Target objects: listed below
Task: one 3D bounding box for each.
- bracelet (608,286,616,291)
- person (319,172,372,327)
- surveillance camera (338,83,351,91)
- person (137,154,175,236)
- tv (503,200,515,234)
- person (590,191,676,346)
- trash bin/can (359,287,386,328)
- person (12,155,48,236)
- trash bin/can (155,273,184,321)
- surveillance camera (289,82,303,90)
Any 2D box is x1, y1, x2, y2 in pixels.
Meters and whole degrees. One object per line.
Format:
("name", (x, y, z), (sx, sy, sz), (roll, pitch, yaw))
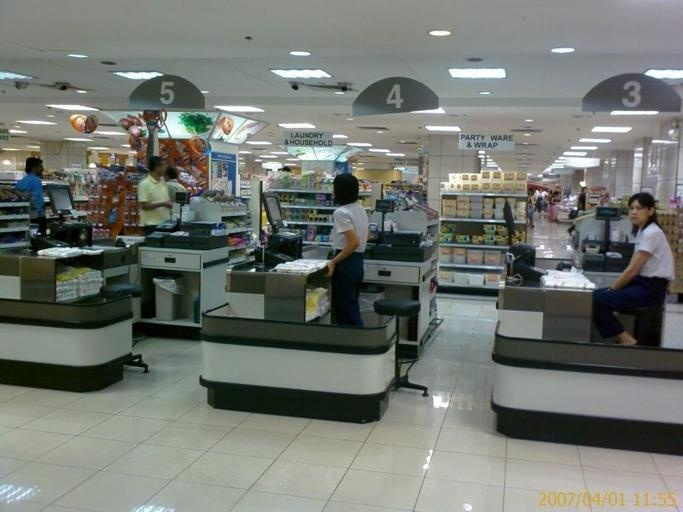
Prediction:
("bracelet", (2.594, 0.314, 5.157), (0.095, 0.024, 0.089), (1, 5, 13))
("person", (0.053, -0.026, 5.441), (0.396, 1.585, 0.545), (2, 11, 2))
("surveillance camera", (0.057, -3.119, 9.876), (0.140, 0.134, 0.163), (-1, -14, 1))
("person", (-2.671, -0.874, 7.675), (0.462, 1.078, 0.965), (-2, 11, -19))
("tv", (2.647, -0.617, 8.515), (0.220, 0.737, 0.799), (1, 4, 17))
("person", (2.705, 0.110, 5.011), (0.703, 1.379, 0.451), (-5, 13, -31))
("trash bin/can", (0.331, 0.618, 6.521), (0.429, 0.613, 0.403), (1, 2, 0))
("person", (-5.342, -1.024, 9.211), (0.386, 1.325, 0.857), (-5, 12, -30))
("trash bin/can", (-2.314, 0.562, 7.165), (0.341, 0.567, 0.218), (-2, 11, -16))
("surveillance camera", (-0.831, -3.076, 9.632), (0.175, 0.076, 0.230), (2, 9, 8))
